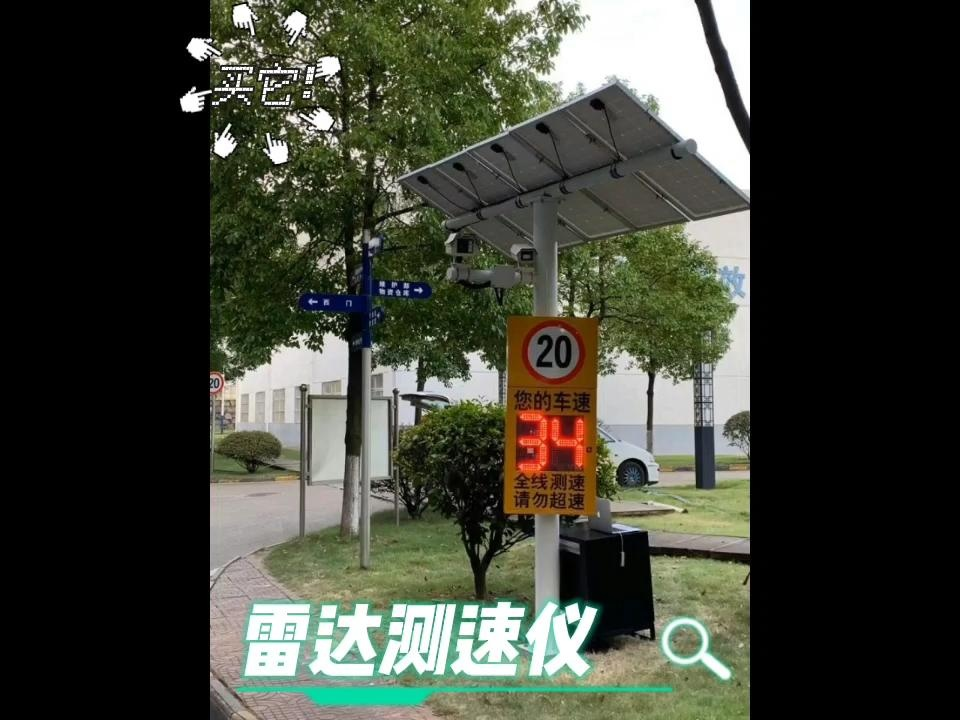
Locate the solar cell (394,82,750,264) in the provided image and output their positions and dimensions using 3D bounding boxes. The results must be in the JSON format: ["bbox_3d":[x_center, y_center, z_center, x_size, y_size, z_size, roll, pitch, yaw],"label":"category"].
[{"bbox_3d":[0.704,-1.298,7.003,1.507,0.807,2.821,1,-3,-32],"label":"solar cell"}]

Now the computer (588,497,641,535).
[{"bbox_3d":[1.049,1.239,7.100,0.255,0.277,0.354,0,2,-38],"label":"computer"}]

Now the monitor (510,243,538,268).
[{"bbox_3d":[0.352,-0.798,7.055,0.154,0.204,0.223,16,-1,-22],"label":"monitor"}]

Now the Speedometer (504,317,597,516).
[{"bbox_3d":[0.504,0.405,6.760,0.531,1.660,0.564,4,-3,-18],"label":"Speedometer"}]
